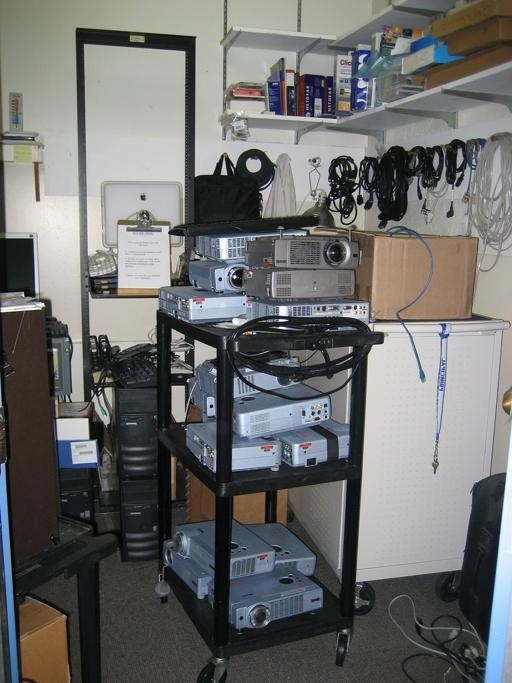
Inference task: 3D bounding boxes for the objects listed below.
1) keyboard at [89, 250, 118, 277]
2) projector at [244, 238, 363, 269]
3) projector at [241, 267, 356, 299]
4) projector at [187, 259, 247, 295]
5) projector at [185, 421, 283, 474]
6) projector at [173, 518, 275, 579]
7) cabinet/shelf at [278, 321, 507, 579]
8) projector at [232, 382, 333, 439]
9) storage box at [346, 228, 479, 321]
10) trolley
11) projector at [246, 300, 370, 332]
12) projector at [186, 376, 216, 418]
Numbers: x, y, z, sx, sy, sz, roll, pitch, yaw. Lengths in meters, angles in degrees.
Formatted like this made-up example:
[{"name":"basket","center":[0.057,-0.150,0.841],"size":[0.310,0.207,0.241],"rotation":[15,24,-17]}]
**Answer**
[{"name":"keyboard","center":[-0.775,-0.395,2.945],"size":[0.119,0.101,0.168],"rotation":[-4,5,-17]},{"name":"projector","center":[0.150,-0.253,1.665],"size":[0.297,0.087,0.094],"rotation":[-2,7,-18]},{"name":"projector","center":[0.116,-0.168,1.656],"size":[0.324,0.083,0.158],"rotation":[1,7,7]},{"name":"projector","center":[-0.121,-0.219,1.851],"size":[0.097,0.086,0.169],"rotation":[-2,16,-29]},{"name":"projector","center":[-0.075,0.288,1.773],"size":[0.217,0.137,0.357],"rotation":[-3,7,-23]},{"name":"projector","center":[-0.110,0.694,1.969],"size":[0.359,0.085,0.340],"rotation":[11,4,17]},{"name":"cabinet/shelf","center":[0.555,0.268,2.746],"size":[0.798,1.454,0.860],"rotation":[-2,9,-13]},{"name":"projector","center":[0.060,0.202,1.734],"size":[0.202,0.071,0.165],"rotation":[-8,14,-28]},{"name":"storage box","center":[0.532,-0.235,2.194],"size":[0.536,0.284,0.513],"rotation":[-6,9,-39]},{"name":"trolley","center":[-0.001,0.253,2.514],"size":[0.947,1.817,1.043],"rotation":[-5,14,-23]},{"name":"projector","center":[0.155,-0.075,1.655],"size":[0.363,0.085,0.277],"rotation":[-1,7,-2]},{"name":"projector","center":[-0.185,0.186,1.975],"size":[0.037,0.078,0.227],"rotation":[-2,10,-14]}]
